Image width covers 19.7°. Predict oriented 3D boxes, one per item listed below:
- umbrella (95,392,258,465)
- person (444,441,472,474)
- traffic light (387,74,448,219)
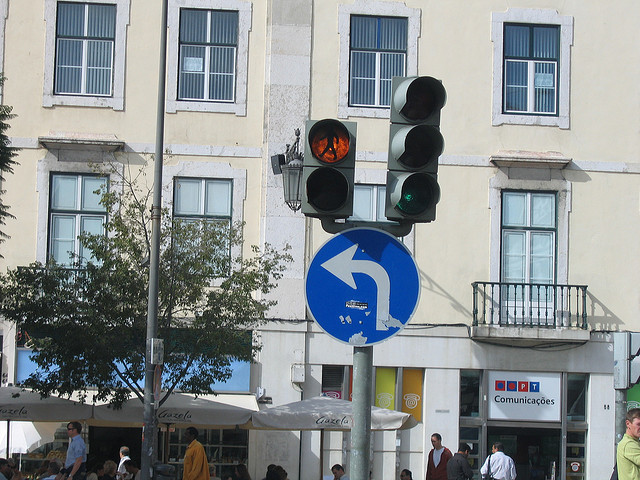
[{"bbox_3d":[-3.537,4.645,46.593,3.524,1.548,2.324,1,-11,-15],"label":"umbrella"},{"bbox_3d":[3.441,5.427,46.531,0.561,0.738,0.953,2,-7,0],"label":"person"},{"bbox_3d":[1.858,-1.814,36.611,0.969,2.901,0.842,4,-2,-6],"label":"traffic light"}]
